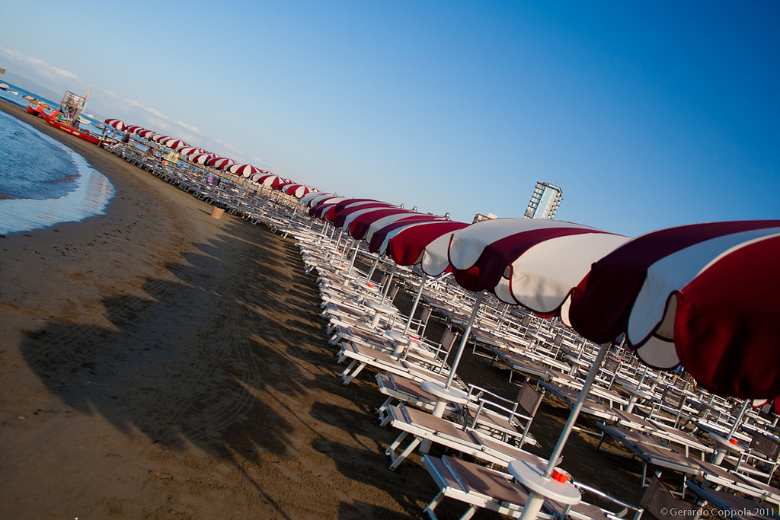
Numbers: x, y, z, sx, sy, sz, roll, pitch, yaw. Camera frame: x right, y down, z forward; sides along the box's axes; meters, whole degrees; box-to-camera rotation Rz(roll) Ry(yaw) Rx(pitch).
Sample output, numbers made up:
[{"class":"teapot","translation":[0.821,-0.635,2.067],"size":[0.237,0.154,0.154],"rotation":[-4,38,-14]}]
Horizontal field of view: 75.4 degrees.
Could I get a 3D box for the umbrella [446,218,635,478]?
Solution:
[{"class":"umbrella","translation":[1.956,1.027,7.322],"size":[3.107,2.947,3.108],"rotation":[2,-9,10]}]
